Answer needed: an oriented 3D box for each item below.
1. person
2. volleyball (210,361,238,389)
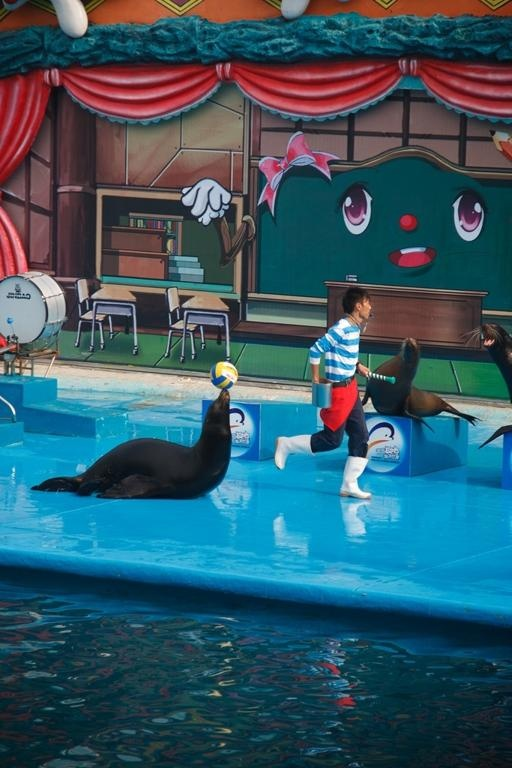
[{"bbox_3d":[0.578,0.058,6.149,0.581,1.579,0.654,-1,7,-7],"label":"person"},{"bbox_3d":[-0.246,-0.058,6.160,0.164,0.208,0.321,0,7,1],"label":"volleyball"}]
